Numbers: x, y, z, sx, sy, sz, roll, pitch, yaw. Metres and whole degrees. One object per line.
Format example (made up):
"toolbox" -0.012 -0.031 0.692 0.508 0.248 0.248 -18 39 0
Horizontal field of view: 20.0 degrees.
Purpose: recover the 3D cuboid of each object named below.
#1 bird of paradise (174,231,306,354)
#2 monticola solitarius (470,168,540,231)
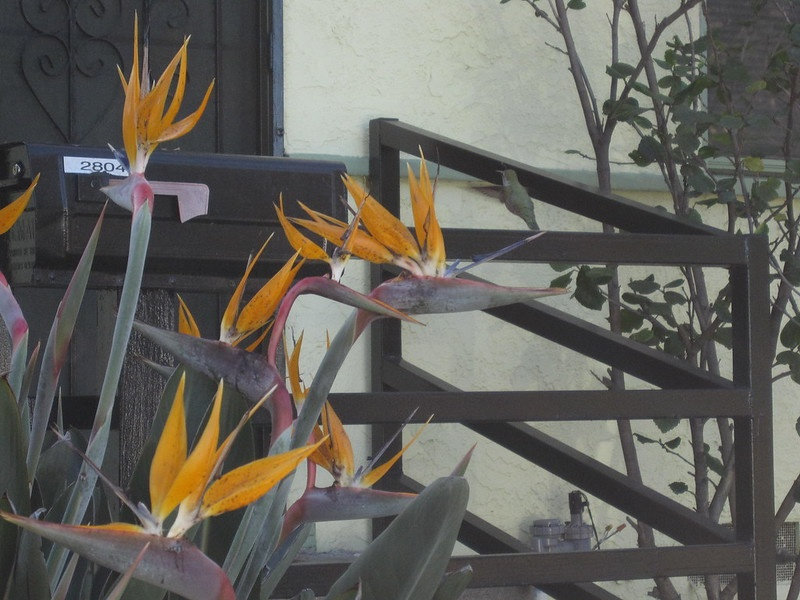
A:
"bird of paradise" -0.361 -0.004 5.172 0.189 0.305 0.242 -4 7 -41
"monticola solitarius" 0.319 -0.290 6.368 0.157 0.192 0.128 -4 7 -26
